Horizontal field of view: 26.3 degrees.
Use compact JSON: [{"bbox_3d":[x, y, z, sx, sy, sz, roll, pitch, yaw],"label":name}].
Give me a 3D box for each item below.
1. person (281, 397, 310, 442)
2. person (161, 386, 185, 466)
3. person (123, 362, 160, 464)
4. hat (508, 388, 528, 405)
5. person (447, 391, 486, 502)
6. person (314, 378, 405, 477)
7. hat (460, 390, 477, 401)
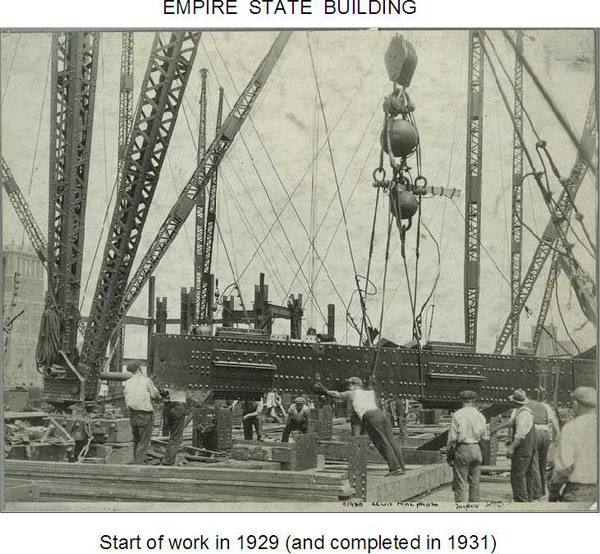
[{"bbox_3d":[-0.095,3.101,28.255,0.584,1.058,0.941,1,-18,-1],"label":"person"},{"bbox_3d":[-2.439,2.903,24.800,0.414,1.347,0.781,2,-18,-6],"label":"person"},{"bbox_3d":[-3.067,2.603,24.802,0.676,1.874,0.841,3,-17,-8],"label":"person"},{"bbox_3d":[4.230,2.350,24.909,0.294,0.131,0.287,22,25,28],"label":"hat"},{"bbox_3d":[3.158,3.098,24.155,0.747,2.168,1.347,-2,-18,8],"label":"person"},{"bbox_3d":[1.114,2.831,24.596,1.420,1.881,0.395,13,-42,-45],"label":"person"},{"bbox_3d":[3.191,2.215,24.139,0.235,0.108,0.263,0,2,29],"label":"hat"}]
